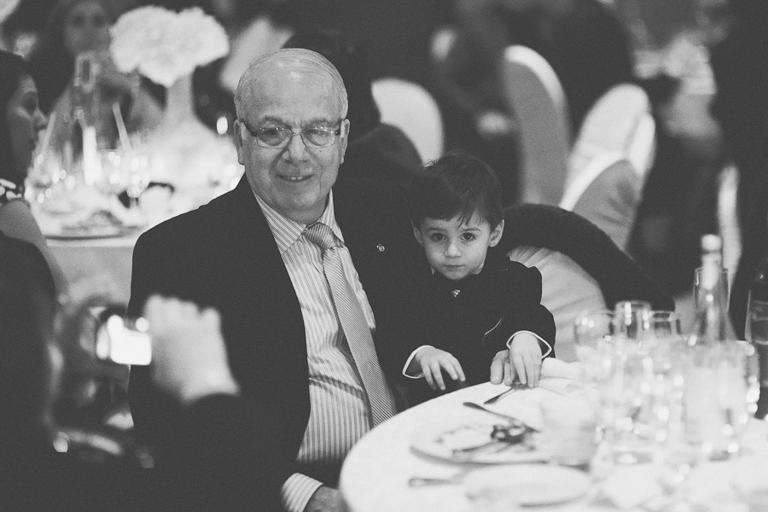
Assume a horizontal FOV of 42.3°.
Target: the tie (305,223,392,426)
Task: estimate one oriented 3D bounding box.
[{"bbox_3d":[-0.123,0.264,3.980,0.244,0.940,0.129,-22,-10,26],"label":"tie"}]
